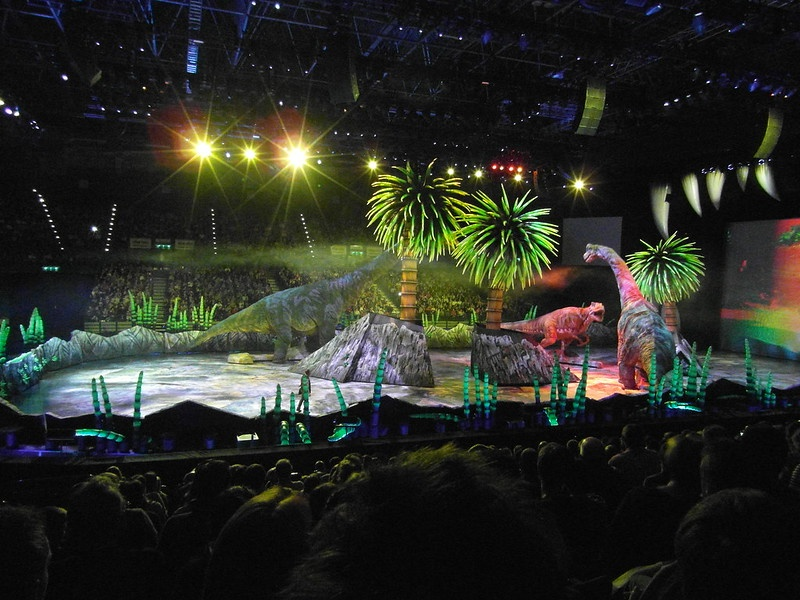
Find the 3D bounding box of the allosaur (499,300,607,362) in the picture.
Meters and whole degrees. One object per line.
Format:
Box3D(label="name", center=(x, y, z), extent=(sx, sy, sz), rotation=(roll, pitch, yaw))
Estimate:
Box3D(label="allosaur", center=(3.970, 0.856, 14.304), extent=(0.898, 1.308, 3.380), rotation=(7, -8, -41))
